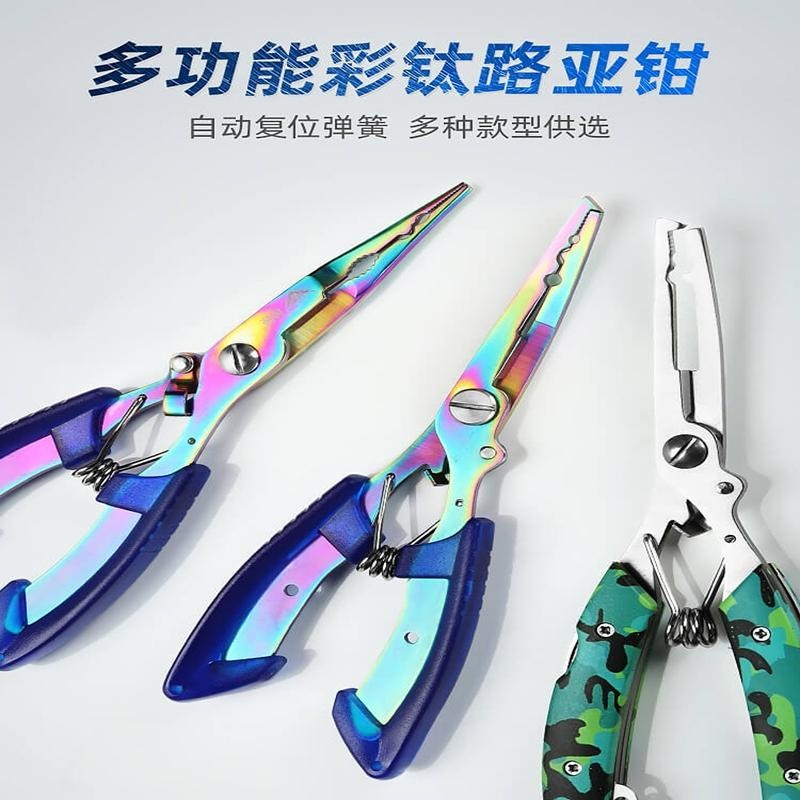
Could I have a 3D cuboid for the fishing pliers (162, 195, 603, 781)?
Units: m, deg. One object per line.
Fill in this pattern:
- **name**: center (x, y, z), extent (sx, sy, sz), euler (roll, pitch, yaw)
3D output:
- **fishing pliers**: center (0.021, 0.040, 0.863), extent (0.410, 0.627, 0.163), euler (11, -6, -26)
